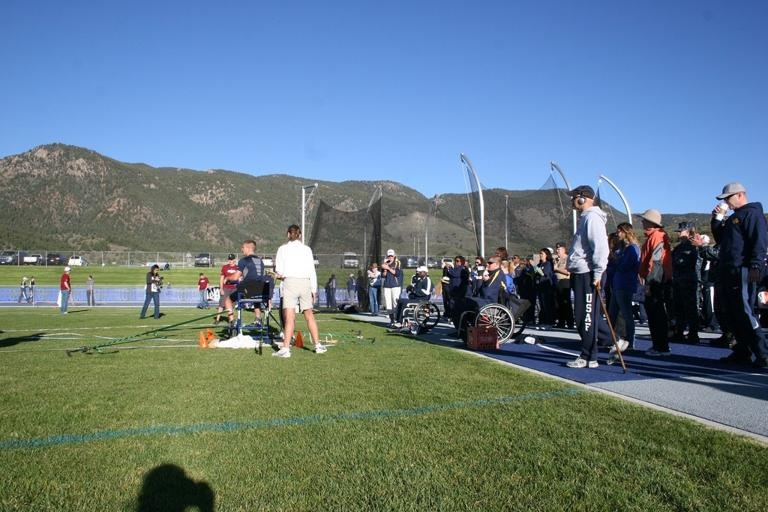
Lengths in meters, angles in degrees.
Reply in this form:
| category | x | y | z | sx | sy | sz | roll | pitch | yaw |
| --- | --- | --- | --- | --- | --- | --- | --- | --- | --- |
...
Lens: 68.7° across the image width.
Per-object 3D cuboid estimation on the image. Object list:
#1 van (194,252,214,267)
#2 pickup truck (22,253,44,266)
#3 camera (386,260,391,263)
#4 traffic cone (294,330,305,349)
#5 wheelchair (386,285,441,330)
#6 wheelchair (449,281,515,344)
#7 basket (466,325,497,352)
| category | x | y | z | sx | sy | sz | roll | pitch | yaw |
| --- | --- | --- | --- | --- | --- | --- | --- | --- | --- |
| van | -26.794 | 0.714 | 83.007 | 1.973 | 1.621 | 3.209 | 1 | 11 | -15 |
| pickup truck | -44.940 | 0.419 | 71.709 | 1.359 | 1.106 | 2.332 | 2 | -4 | -38 |
| camera | 0.133 | 0.183 | 18.515 | 0.075 | 0.115 | 0.333 | -2 | 5 | -22 |
| traffic cone | -1.905 | 1.853 | 12.446 | 0.212 | 0.409 | 0.198 | 6 | 17 | 36 |
| wheelchair | 0.660 | 1.447 | 16.164 | 0.990 | 1.256 | 1.583 | -3 | 6 | -32 |
| wheelchair | 2.347 | 1.371 | 13.020 | 1.359 | 1.254 | 0.994 | 1 | 5 | 17 |
| basket | 2.056 | 1.731 | 11.773 | 0.703 | 0.552 | 0.422 | 3 | -8 | -13 |
